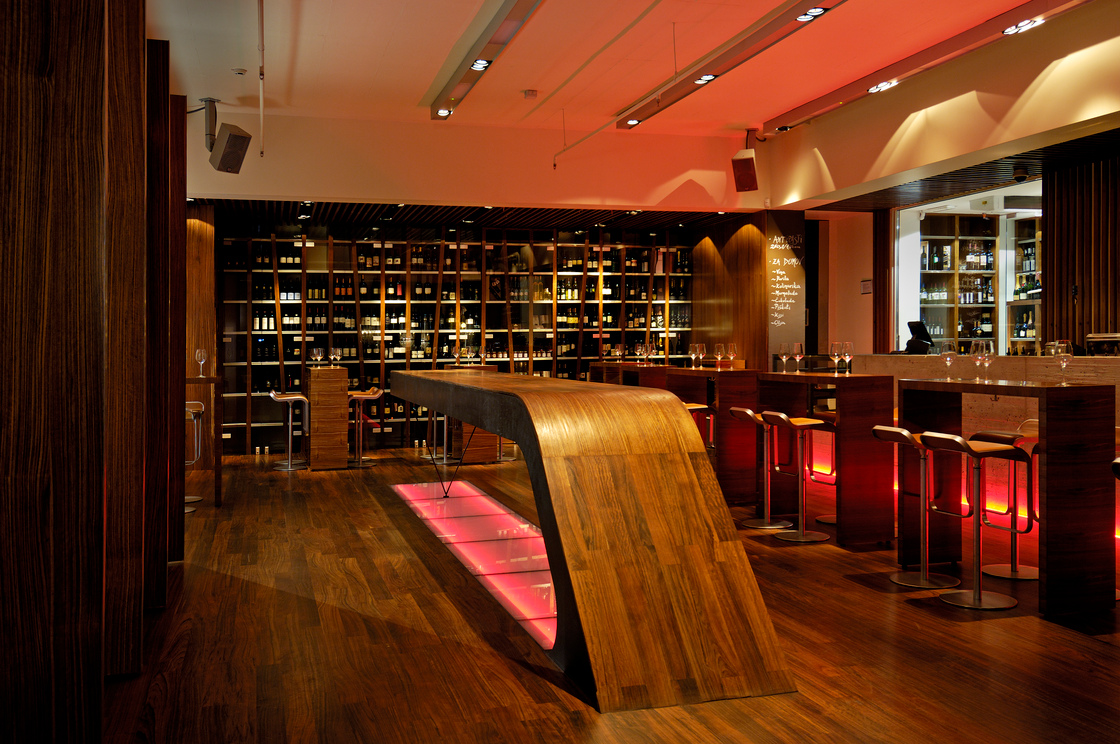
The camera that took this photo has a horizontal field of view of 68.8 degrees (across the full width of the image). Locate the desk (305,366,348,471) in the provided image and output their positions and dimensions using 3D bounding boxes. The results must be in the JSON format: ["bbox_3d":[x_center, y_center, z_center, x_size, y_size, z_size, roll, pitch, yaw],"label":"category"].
[{"bbox_3d":[-2.746,0.553,9.640,0.398,1.072,1.150,0,-1,-16],"label":"desk"}]

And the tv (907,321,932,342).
[{"bbox_3d":[3.926,-0.455,8.984,0.081,0.216,0.338,-11,21,-34],"label":"tv"}]

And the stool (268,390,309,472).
[{"bbox_3d":[-3.397,0.671,10.255,0.422,0.921,1.713,-2,4,-20],"label":"stool"}]

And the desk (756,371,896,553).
[{"bbox_3d":[2.372,0.662,6.801,0.368,1.117,1.204,0,-16,6],"label":"desk"}]

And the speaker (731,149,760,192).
[{"bbox_3d":[2.133,-2.365,9.547,0.249,0.500,0.368,0,4,15],"label":"speaker"}]

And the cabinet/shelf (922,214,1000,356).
[{"bbox_3d":[5.204,-1.197,10.783,0.973,1.801,0.404,1,4,31],"label":"cabinet/shelf"}]

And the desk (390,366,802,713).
[{"bbox_3d":[-0.132,0.735,5.228,0.972,1.291,3.531,0,5,-27],"label":"desk"}]

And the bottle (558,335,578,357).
[{"bbox_3d":[0.095,-0.385,11.877,0.277,0.290,0.303,-1,1,-11],"label":"bottle"}]

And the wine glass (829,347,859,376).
[{"bbox_3d":[2.528,-0.092,7.371,0.262,0.426,0.265,-1,1,24],"label":"wine glass"}]

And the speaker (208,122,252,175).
[{"bbox_3d":[-3.087,-2.110,7.619,0.257,0.482,0.496,-3,4,-32],"label":"speaker"}]

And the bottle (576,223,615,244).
[{"bbox_3d":[0.486,-1.983,11.819,0.448,0.253,0.310,0,-2,-6],"label":"bottle"}]
